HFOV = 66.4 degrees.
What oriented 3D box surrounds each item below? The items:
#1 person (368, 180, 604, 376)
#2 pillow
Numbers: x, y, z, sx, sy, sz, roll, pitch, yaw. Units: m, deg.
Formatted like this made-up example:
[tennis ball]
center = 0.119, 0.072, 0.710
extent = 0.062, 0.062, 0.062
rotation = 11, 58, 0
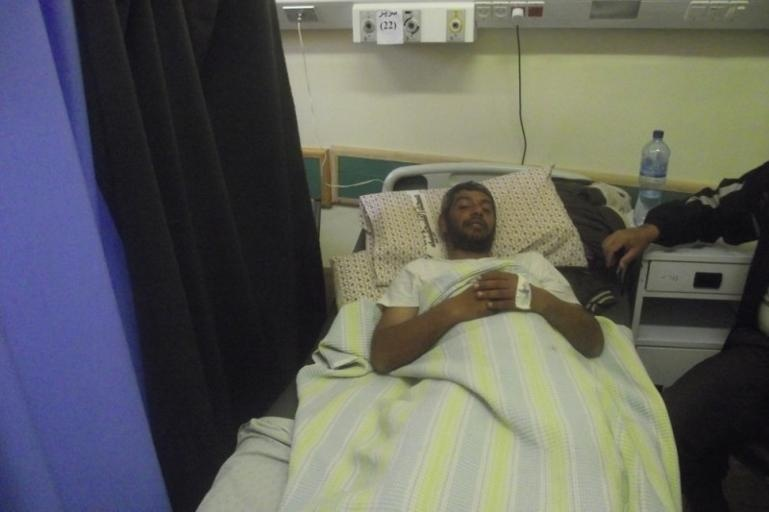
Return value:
[person]
center = 0.351, 0.048, 2.165
extent = 0.868, 0.345, 1.004
rotation = -2, 42, 0
[pillow]
center = 0.317, -0.024, 2.583
extent = 0.807, 0.353, 0.556
rotation = -7, 56, 5
